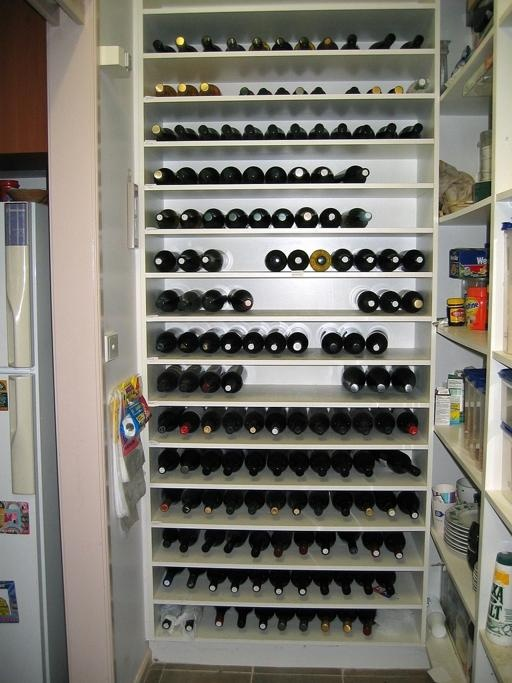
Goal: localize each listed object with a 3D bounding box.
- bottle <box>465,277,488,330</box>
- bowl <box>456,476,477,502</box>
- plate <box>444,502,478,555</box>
[{"bbox_3d":[0.802,-0.137,1.982,0.103,0.109,0.190,0,-79,21],"label":"bottle"},{"bbox_3d":[0.831,0.594,2.203,0.059,0.081,0.061,1,-87,13],"label":"bowl"},{"bbox_3d":[0.740,0.674,2.012,0.126,0.142,0.061,-3,-74,0],"label":"plate"}]
